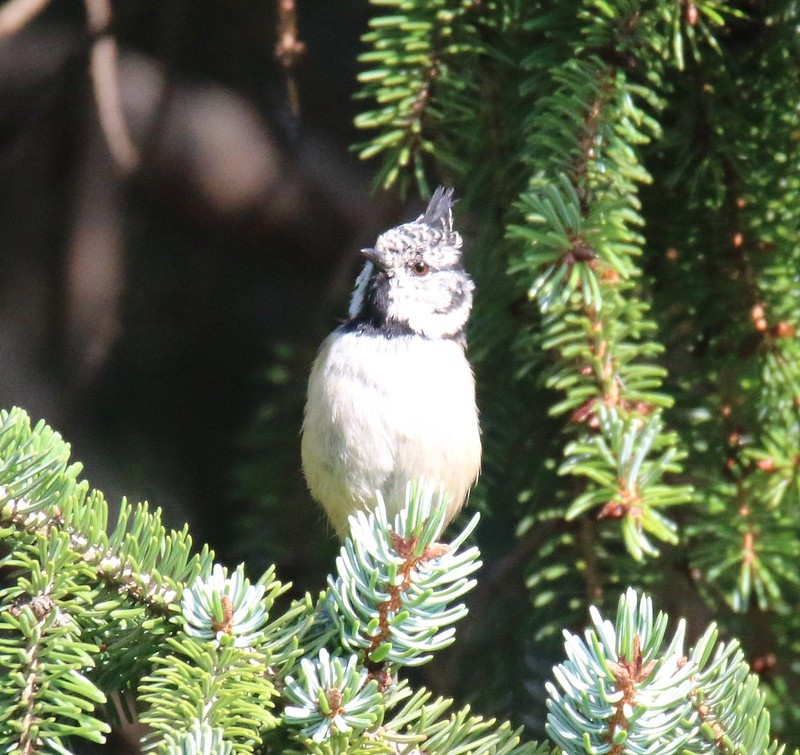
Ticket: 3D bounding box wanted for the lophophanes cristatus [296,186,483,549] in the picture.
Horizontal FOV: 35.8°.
[{"bbox_3d":[0.004,-0.024,2.429,0.349,0.695,0.298,9,-1,-5],"label":"lophophanes cristatus"}]
